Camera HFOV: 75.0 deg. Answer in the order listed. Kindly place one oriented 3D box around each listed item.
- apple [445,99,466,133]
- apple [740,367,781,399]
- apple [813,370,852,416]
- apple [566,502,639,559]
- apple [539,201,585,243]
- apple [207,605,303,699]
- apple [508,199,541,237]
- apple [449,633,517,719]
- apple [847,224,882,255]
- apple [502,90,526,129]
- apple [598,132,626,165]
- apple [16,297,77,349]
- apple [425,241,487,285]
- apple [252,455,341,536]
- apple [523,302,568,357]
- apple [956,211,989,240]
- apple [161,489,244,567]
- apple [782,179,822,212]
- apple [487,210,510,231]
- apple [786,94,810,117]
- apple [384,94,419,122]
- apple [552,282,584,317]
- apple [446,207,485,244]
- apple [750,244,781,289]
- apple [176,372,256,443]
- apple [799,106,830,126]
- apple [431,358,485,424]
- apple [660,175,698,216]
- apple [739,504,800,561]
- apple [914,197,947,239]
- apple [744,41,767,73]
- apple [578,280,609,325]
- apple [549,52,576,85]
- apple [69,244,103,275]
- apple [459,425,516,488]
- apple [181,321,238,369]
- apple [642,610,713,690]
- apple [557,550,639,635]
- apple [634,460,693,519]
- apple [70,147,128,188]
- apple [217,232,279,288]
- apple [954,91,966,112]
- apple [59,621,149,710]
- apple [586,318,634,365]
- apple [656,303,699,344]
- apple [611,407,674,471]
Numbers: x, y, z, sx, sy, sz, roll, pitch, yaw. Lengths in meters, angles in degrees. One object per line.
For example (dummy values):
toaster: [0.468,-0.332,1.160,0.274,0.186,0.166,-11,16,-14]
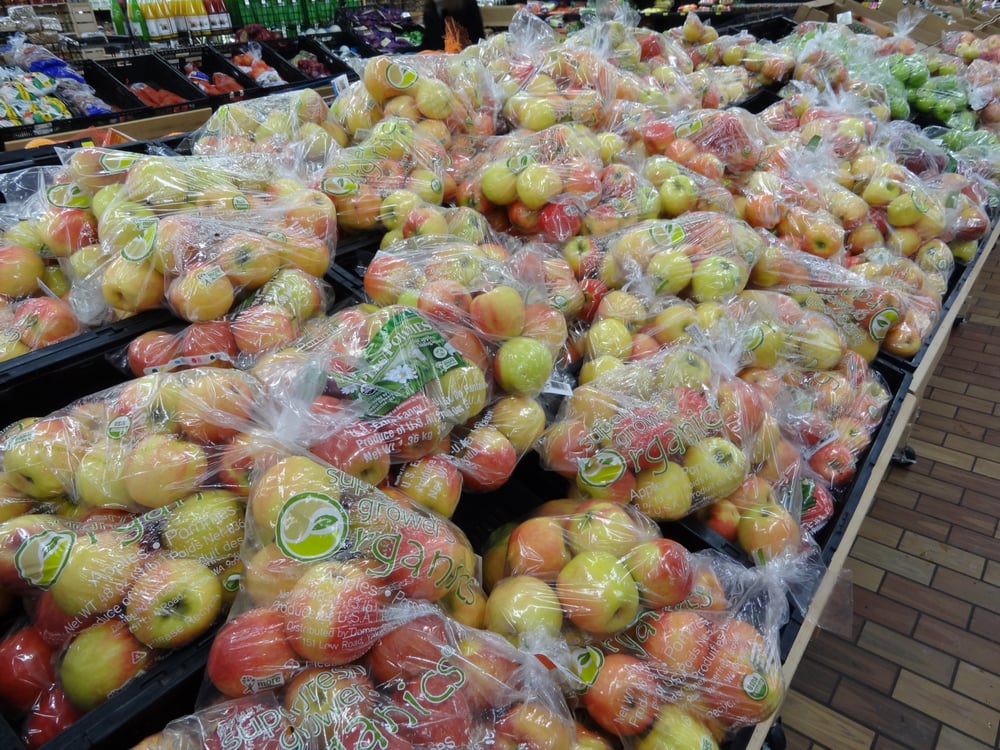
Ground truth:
apple: [-0.152,-0.911,2.227,0.050,0.079,0.095,-5,56,3]
apple: [0.701,0.008,1.758,0.078,0.085,0.077,-10,6,-21]
apple: [0.950,0.048,1.919,0.116,0.050,0.126,-13,76,-20]
apple: [0.211,0.317,1.333,0.096,0.119,0.103,-4,51,25]
apple: [0.185,-0.476,1.950,0.115,0.115,0.119,5,53,-5]
apple: [-0.411,0.469,1.097,0.149,0.102,0.118,-9,48,-12]
apple: [0.076,-0.491,1.995,0.089,0.094,0.096,1,70,-6]
apple: [-0.021,0.522,1.149,0.132,0.108,0.113,44,52,-24]
apple: [1.296,-0.500,2.327,0.084,0.073,0.070,-35,48,-25]
apple: [0.051,-0.968,2.338,0.063,0.117,0.122,13,75,-15]
apple: [0.378,-0.795,2.252,0.105,0.068,0.114,1,75,-14]
apple: [-1.100,-0.145,1.620,0.129,0.137,0.128,6,12,45]
apple: [-0.111,-0.302,1.644,0.124,0.105,0.075,6,60,-29]
apple: [-0.372,0.204,1.165,0.153,0.069,0.114,-17,51,-18]
apple: [0.110,-0.109,1.642,0.108,0.114,0.137,15,52,-2]
apple: [1.838,-0.607,2.575,0.113,0.051,0.134,-5,57,-6]
apple: [-0.540,0.279,1.194,0.133,0.070,0.107,-6,48,-9]
apple: [1.050,-0.650,2.327,0.133,0.077,0.116,35,17,9]
apple: [0.001,-0.504,2.103,0.061,0.066,0.067,-14,61,14]
apple: [1.362,-1.260,2.954,0.115,0.065,0.124,0,70,26]
apple: [-0.329,-0.913,2.224,0.091,0.097,0.113,2,63,3]
apple: [0.190,-0.217,1.777,0.076,0.057,0.096,60,28,1]
apple: [-0.096,-0.444,1.911,0.104,0.078,0.125,45,22,14]
apple: [0.827,-0.355,2.082,0.070,0.123,0.096,24,26,14]
apple: [-0.549,0.077,1.291,0.112,0.078,0.139,28,66,-1]
apple: [1.377,-1.138,2.826,0.100,0.090,0.086,-9,5,28]
apple: [-0.072,0.027,1.397,0.071,0.103,0.126,0,38,31]
apple: [0.573,-0.591,2.140,0.114,0.127,0.125,-10,74,10]
apple: [0.625,0.350,1.529,0.112,0.116,0.113,-11,88,-2]
apple: [1.587,-0.600,2.406,0.071,0.144,0.143,7,54,29]
apple: [1.257,-1.631,3.256,0.061,0.107,0.127,5,47,-2]
apple: [0.261,-0.212,1.832,0.083,0.101,0.088,-38,76,14]
apple: [0.233,-1.160,2.466,0.068,0.105,0.128,-16,72,-1]
apple: [-1.042,-0.303,1.648,0.074,0.046,0.059,-33,54,16]
apple: [-0.019,0.170,1.468,0.119,0.121,0.144,-10,88,8]
apple: [-0.640,-0.067,1.451,0.096,0.094,0.104,6,89,-17]
apple: [0.340,0.514,1.243,0.128,0.048,0.113,12,48,7]
apple: [0.190,0.425,1.247,0.097,0.101,0.117,-32,18,-17]
apple: [0.377,0.261,1.537,0.124,0.129,0.124,2,19,4]
apple: [-1.087,-0.574,1.816,0.138,0.067,0.112,-14,77,-1]
apple: [-0.591,-0.286,1.548,0.123,0.100,0.133,-21,69,-29]
apple: [2.394,-1.462,3.386,0.054,0.103,0.080,8,39,35]
apple: [-0.693,0.509,1.151,0.148,0.108,0.108,-14,49,-16]
apple: [0.288,-0.098,1.716,0.102,0.134,0.107,-1,3,8]
apple: [0.472,-0.150,1.766,0.110,0.104,0.110,-7,72,8]
apple: [0.335,0.132,1.525,0.105,0.073,0.134,23,94,-1]
